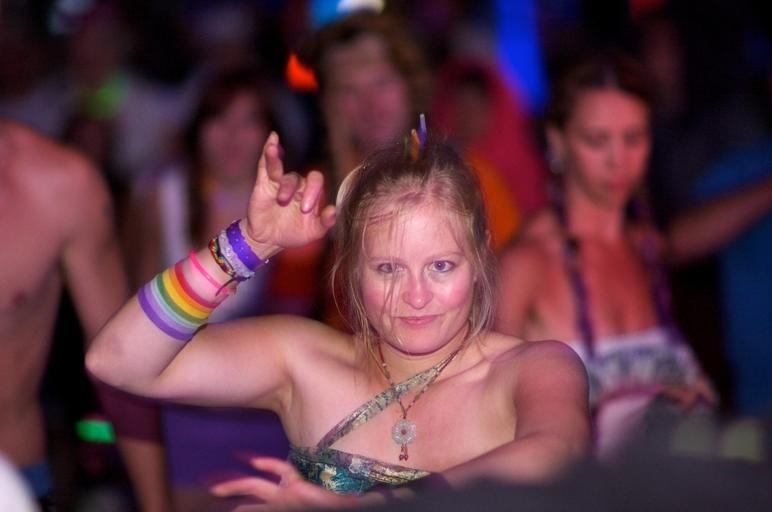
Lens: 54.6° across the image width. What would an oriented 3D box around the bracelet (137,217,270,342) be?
[{"bbox_3d":[-0.540,0.058,2.342,0.264,0.322,0.409,42,46,1],"label":"bracelet"}]
